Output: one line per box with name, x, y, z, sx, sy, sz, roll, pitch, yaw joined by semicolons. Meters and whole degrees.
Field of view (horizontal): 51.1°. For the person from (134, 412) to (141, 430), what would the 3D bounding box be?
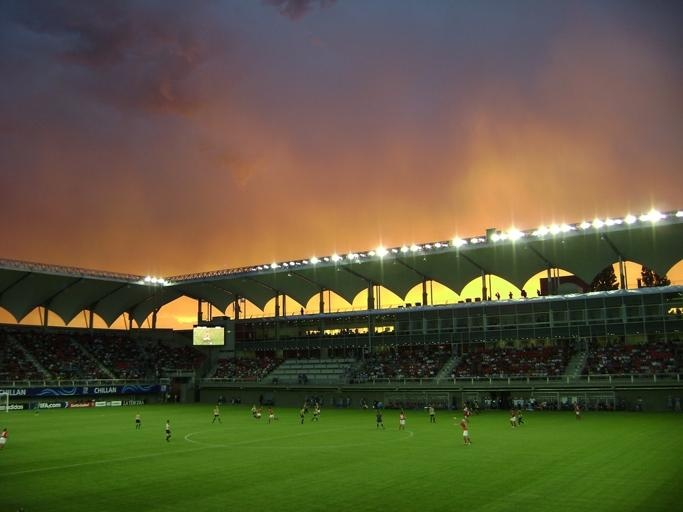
person;-18.434;14.815;64.359;0.469;1.483;2.473;4;-15;-16
